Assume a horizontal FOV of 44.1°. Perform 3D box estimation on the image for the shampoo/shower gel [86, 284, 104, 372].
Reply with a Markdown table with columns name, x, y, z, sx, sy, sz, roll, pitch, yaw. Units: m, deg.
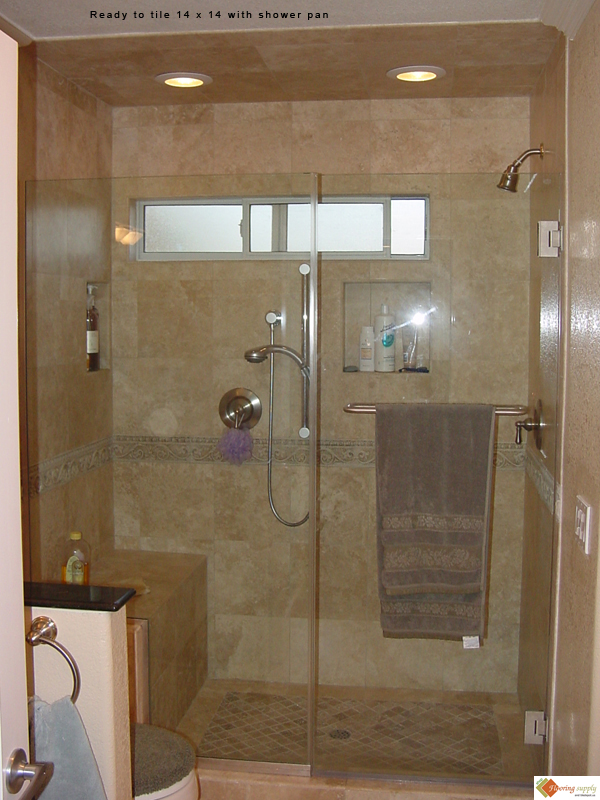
| name | x | y | z | sx | sy | sz | roll | pitch | yaw |
| --- | --- | --- | --- | --- | --- | --- | --- | --- | --- |
| shampoo/shower gel | -0.657 | -0.226 | 2.330 | 0.047 | 0.276 | 0.026 | 0 | 3 | -2 |

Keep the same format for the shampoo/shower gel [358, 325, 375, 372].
| name | x | y | z | sx | sy | sz | roll | pitch | yaw |
| --- | --- | --- | --- | --- | --- | --- | --- | --- | --- |
| shampoo/shower gel | 0.200 | -0.154 | 2.231 | 0.047 | 0.138 | 0.014 | 0 | 3 | 2 |

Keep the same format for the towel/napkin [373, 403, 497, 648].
| name | x | y | z | sx | sy | sz | roll | pitch | yaw |
| --- | --- | --- | --- | --- | --- | --- | --- | --- | --- |
| towel/napkin | 0.405 | 0.373 | 2.241 | 0.348 | 0.719 | 0.062 | 0 | 3 | 3 |
